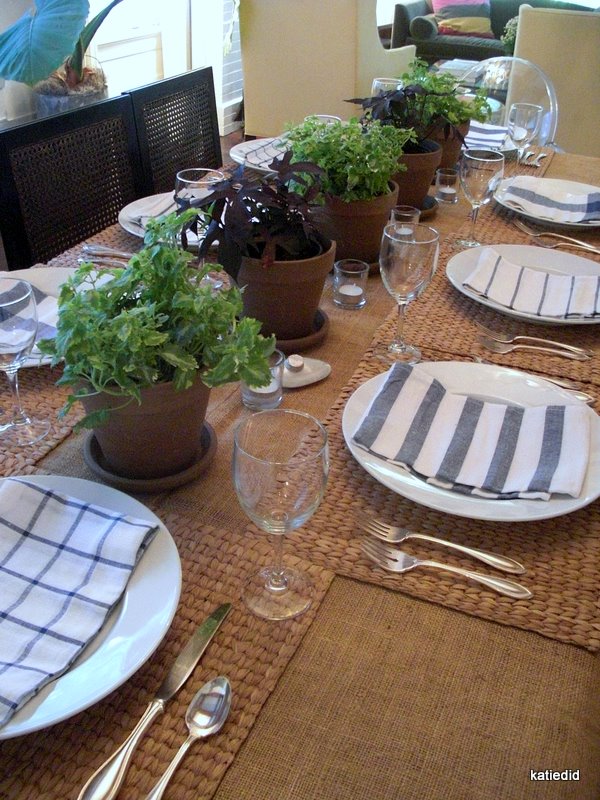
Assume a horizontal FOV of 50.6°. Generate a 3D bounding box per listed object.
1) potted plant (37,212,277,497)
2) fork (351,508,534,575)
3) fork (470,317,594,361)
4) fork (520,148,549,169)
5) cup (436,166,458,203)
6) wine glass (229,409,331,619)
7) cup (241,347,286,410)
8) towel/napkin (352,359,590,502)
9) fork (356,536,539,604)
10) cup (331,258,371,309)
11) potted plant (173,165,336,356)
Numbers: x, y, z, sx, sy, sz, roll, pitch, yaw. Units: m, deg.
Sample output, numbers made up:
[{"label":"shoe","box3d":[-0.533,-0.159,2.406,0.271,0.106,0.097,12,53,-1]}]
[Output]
[{"label":"potted plant","box3d":[-0.143,-0.050,0.684,0.220,0.247,0.236,14,20,32]},{"label":"fork","box3d":[0.142,0.141,0.621,0.136,0.015,0.019,16,37,14]},{"label":"fork","box3d":[0.337,-0.079,0.982,0.209,0.030,0.054,12,41,11]},{"label":"fork","box3d":[0.661,-0.684,1.787,0.066,0.017,0.118,16,39,15]},{"label":"cup","box3d":[0.342,-0.523,1.544,0.054,0.071,0.082,2,35,6]},{"label":"wine glass","box3d":[-0.018,0.103,0.549,0.081,0.160,0.078,6,24,8]},{"label":"cup","box3d":[-0.053,-0.021,0.840,0.055,0.058,0.055,8,21,-3]},{"label":"towel/napkin","box3d":[0.194,0.043,0.715,0.208,0.033,0.156,13,42,18]},{"label":"fork","box3d":[0.137,0.162,0.595,0.110,0.016,0.019,15,34,14]},{"label":"cup","box3d":[0.086,-0.204,1.127,0.069,0.074,0.067,4,20,-1]},{"label":"potted plant","box3d":[-0.070,-0.208,0.942,0.232,0.226,0.239,-16,35,-35]}]
